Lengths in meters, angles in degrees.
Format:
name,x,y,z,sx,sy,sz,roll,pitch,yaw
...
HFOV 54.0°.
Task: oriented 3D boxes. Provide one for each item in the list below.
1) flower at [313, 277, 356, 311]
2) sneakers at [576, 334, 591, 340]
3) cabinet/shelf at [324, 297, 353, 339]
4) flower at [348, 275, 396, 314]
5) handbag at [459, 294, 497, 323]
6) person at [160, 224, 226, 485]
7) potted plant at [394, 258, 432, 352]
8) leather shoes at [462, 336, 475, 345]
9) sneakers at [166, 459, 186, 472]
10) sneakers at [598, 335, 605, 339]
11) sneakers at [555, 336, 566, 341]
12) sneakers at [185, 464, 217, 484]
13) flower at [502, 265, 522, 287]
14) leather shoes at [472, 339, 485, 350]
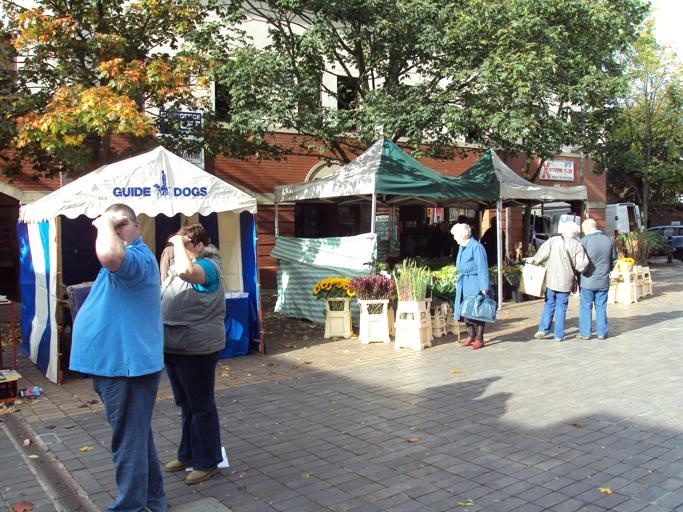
name,x,y,z,sx,sy,sz,roll,pitch,yaw
flower,-0.161,0.678,12.581,0.620,0.544,0.615,-1,3,-15
sneakers,4.293,1.447,11.907,0.075,0.081,0.190,2,-4,-26
cabinet/shelf,-0.052,1.207,12.764,0.663,0.942,0.675,0,-7,0
flower,0.556,0.686,11.885,0.648,0.682,0.667,4,-6,-7
handbag,2.265,0.874,11.203,0.477,0.430,0.208,1,-2,-2
person,-1.483,0.989,6.727,0.634,2.586,0.501,-2,8,-8
potted plant,1.219,0.856,11.629,0.692,1.479,0.751,2,-4,-35
leather shoes,2.188,1.479,11.598,0.277,0.119,0.100,-17,7,-21
sneakers,-1.727,2.196,7.011,0.198,0.085,0.099,9,2,-18
sneakers,4.592,1.443,11.825,0.122,0.049,0.104,2,8,18
sneakers,3.900,1.478,11.922,0.084,0.110,0.255,-4,-8,36
sneakers,-1.424,2.226,6.830,0.295,0.147,0.127,7,0,-42
flower,4.218,0.461,16.609,0.458,0.216,0.448,-18,30,-30
leather shoes,2.321,1.510,11.378,0.104,0.087,0.216,-3,-1,41
